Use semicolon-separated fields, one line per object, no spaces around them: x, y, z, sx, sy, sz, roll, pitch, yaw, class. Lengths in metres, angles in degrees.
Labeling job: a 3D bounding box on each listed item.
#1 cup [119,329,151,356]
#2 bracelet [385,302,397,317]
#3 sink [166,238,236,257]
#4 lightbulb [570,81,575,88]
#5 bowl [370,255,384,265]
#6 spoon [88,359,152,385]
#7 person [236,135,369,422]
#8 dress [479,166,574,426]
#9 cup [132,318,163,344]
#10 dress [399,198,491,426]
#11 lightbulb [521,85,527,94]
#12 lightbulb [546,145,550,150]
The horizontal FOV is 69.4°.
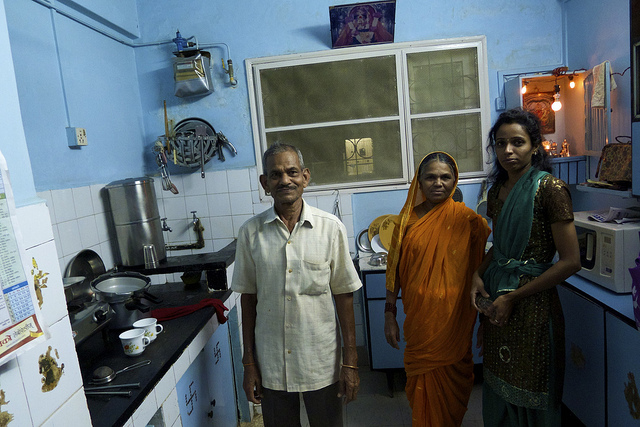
-1.038;0.741;2.611;0.154;0.112;0.123;-9;-1;6;cup
0.460;0.621;2.962;0.072;0.052;0.072;3;-6;-1;bracelet
-1.100;0.288;4.176;0.655;0.162;0.220;-7;9;2;sink
1.989;-1.023;3.655;0.036;0.042;0.036;6;12;40;lightbulb
0.475;0.381;3.851;0.124;0.045;0.139;-4;10;20;bowl
-1.055;0.832;2.469;0.235;0.065;0.091;-5;5;-23;spoon
-0.136;0.405;2.571;0.723;1.586;0.275;-7;9;3;person
1.173;0.513;2.662;0.521;1.532;0.359;-2;11;28;dress
-0.993;0.687;2.693;0.139;0.110;0.118;-5;-2;-27;cup
0.771;0.606;2.815;0.573;1.337;0.375;-6;10;9;dress
1.677;-1.029;3.802;0.035;0.058;0.123;-3;10;27;lightbulb
1.864;-0.547;3.794;0.023;0.035;0.047;-2;10;28;lightbulb
